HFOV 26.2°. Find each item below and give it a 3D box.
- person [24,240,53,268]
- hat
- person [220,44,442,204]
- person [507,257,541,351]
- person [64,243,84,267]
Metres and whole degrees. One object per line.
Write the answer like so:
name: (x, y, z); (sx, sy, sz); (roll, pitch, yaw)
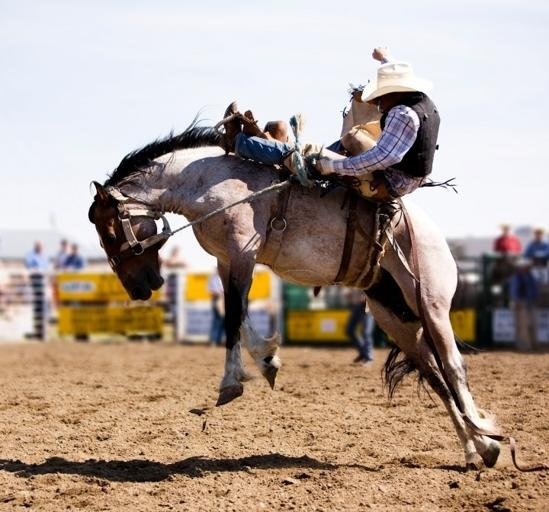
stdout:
person: (-4.330, 0.008, 21.781); (0.413, 0.553, 1.149); (-3, 1, -10)
hat: (1.090, -1.481, 10.262); (0.746, 0.251, 0.555); (-4, -2, 1)
person: (0.526, -1.134, 10.367); (2.025, 1.068, 0.970); (7, 21, 11)
person: (4.225, 0.799, 19.910); (0.429, 1.525, 0.614); (-2, 2, 19)
person: (-3.734, 0.022, 22.100); (0.372, 0.482, 0.960); (-3, 1, -9)
